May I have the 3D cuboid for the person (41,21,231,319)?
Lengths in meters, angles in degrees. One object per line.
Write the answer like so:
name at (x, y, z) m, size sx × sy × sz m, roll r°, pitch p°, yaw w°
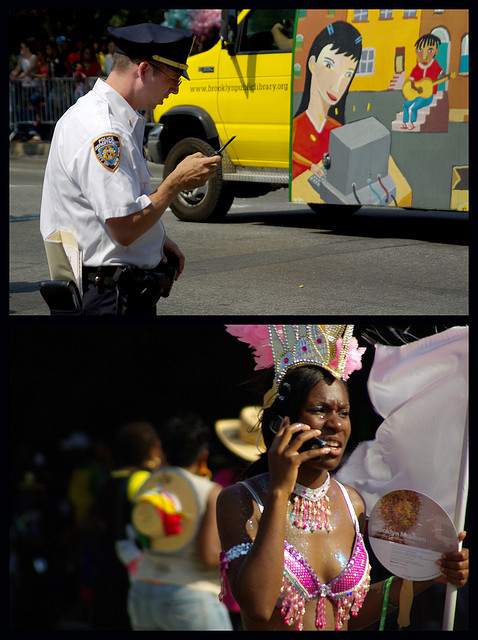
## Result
person at (-0.359, -0.461, 2.364) m, size 0.493 × 0.914 × 0.448 m, roll -8°, pitch 14°, yaw -34°

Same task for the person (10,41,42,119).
person at (-4.874, -5.459, 17.281) m, size 0.612 × 1.517 × 1.193 m, roll -4°, pitch 13°, yaw -19°

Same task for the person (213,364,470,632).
person at (0.287, 0.513, 2.121) m, size 0.687 × 0.737 × 0.308 m, roll -3°, pitch 12°, yaw -14°

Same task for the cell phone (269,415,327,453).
cell phone at (0.172, 0.322, 2.131) m, size 0.144 × 0.081 × 0.034 m, roll 33°, pitch 2°, yaw -1°
